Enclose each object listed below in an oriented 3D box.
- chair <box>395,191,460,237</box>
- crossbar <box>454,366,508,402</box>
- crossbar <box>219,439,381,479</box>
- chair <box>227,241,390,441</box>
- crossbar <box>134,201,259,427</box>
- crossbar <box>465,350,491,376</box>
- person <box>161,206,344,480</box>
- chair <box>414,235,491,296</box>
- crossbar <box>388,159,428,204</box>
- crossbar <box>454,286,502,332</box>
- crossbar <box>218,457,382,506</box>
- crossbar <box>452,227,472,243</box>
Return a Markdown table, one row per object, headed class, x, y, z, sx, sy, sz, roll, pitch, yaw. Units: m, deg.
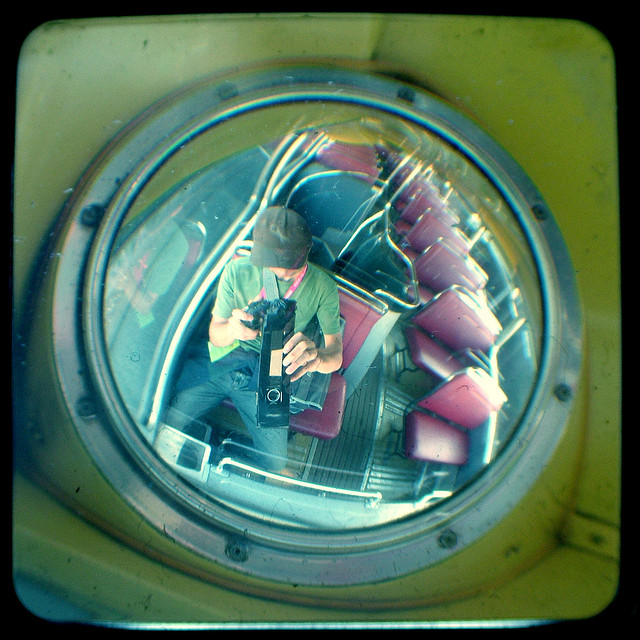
| class | x | y | z | sx | sy | sz | roll | pitch | yaw |
| --- | --- | --- | --- | --- | --- | --- | --- | --- | --- |
| chair | 0.532 | -0.525 | 3.290 | 0.143 | 0.150 | 0.104 | -27 | 26 | 2 |
| crossbar | 0.813 | 0.294 | 3.223 | 0.285 | 0.034 | 0.074 | 32 | 86 | 3 |
| crossbar | -0.080 | 0.688 | 3.221 | 0.454 | 0.067 | 0.025 | 17 | 39 | -6 |
| chair | -0.029 | 0.079 | 3.159 | 0.607 | 0.606 | 0.459 | 29 | 34 | -14 |
| crossbar | -0.971 | 0.323 | 4.146 | 0.221 | 2.737 | 0.254 | -37 | 82 | -33 |
| crossbar | 0.780 | 0.214 | 3.224 | 0.163 | 0.042 | 0.032 | 41 | 56 | 2 |
| person | -0.380 | 0.238 | 3.183 | 0.788 | 1.412 | 0.793 | 7 | 24 | -23 |
| chair | 0.642 | -0.262 | 3.265 | 0.232 | 0.144 | 0.129 | 29 | 44 | 2 |
| crossbar | 0.444 | -0.689 | 3.304 | 0.032 | 0.031 | 0.303 | 39 | 96 | -11 |
| crossbar | 0.808 | -0.079 | 3.278 | 0.063 | 0.166 | 0.235 | -40 | 94 | -14 |
| crossbar | -0.110 | 0.795 | 3.187 | 0.546 | 0.082 | 0.068 | 15 | 86 | 0 |
| crossbar | 0.702 | -0.423 | 3.285 | 0.074 | 0.071 | 0.018 | 44 | 103 | 30 |
